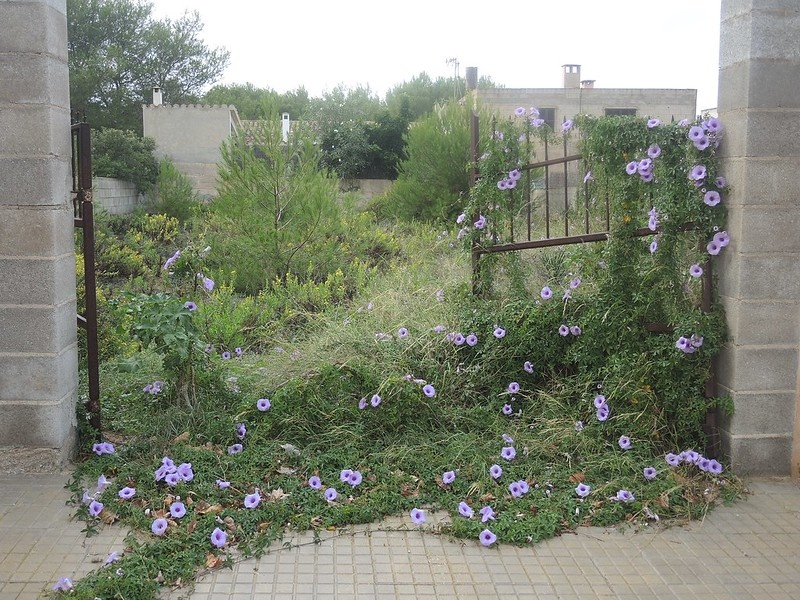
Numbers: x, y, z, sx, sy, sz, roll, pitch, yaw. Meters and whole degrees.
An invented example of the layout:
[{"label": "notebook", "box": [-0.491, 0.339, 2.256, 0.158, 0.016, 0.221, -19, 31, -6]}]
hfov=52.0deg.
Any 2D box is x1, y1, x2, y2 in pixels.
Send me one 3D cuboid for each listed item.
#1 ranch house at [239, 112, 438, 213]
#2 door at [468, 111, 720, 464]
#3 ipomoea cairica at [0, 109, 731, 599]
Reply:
[{"label": "ranch house", "box": [-0.887, -2.657, 18.662, 2.940, 1.473, 3.182, 8, 10, 20]}, {"label": "door", "box": [1.321, -0.355, 5.962, 1.734, 2.000, 0.269, 2, 9, 36]}, {"label": "ipomoea cairica", "box": [0.004, -0.023, 5.933, 4.122, 2.655, 3.357, -3, 6, -7]}]
